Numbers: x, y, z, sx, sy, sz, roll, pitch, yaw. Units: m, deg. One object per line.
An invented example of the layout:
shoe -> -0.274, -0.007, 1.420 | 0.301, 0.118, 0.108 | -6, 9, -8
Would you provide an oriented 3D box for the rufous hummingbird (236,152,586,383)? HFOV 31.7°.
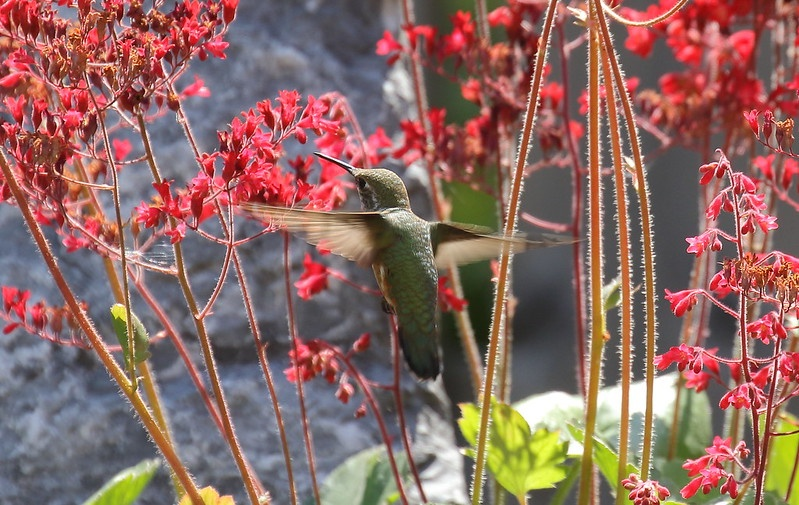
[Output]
rufous hummingbird -> -0.020, 0.016, 3.759 | 0.704, 0.341, 0.622 | 26, 27, 24
